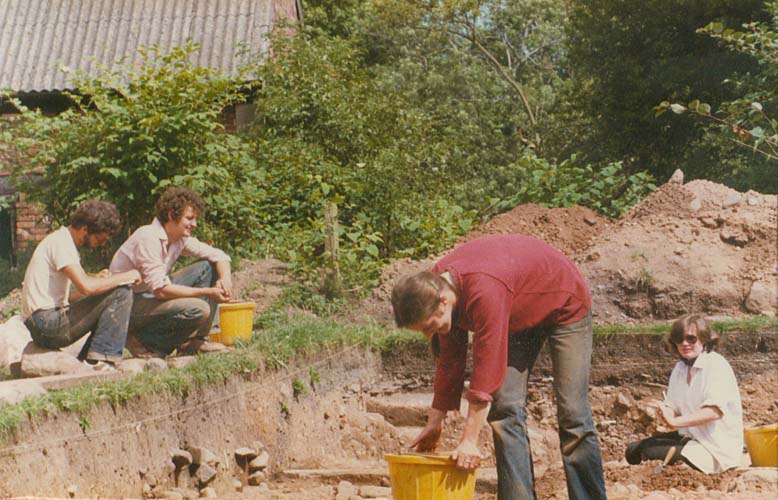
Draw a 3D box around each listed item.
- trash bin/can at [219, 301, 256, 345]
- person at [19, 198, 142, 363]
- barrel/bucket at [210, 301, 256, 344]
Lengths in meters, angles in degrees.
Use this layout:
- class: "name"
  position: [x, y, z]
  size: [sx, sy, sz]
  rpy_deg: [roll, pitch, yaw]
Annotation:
- class: "trash bin/can"
  position: [-2.132, 0.987, 13.769]
  size: [0.562, 0.605, 0.590]
  rpy_deg: [-3, 5, -9]
- class: "person"
  position: [-4.086, 0.426, 13.042]
  size: [1.455, 2.196, 0.447]
  rpy_deg: [0, 1, -15]
- class: "barrel/bucket"
  position: [-2.149, 1.018, 13.576]
  size: [0.571, 0.537, 0.562]
  rpy_deg: [-1, -10, 0]
